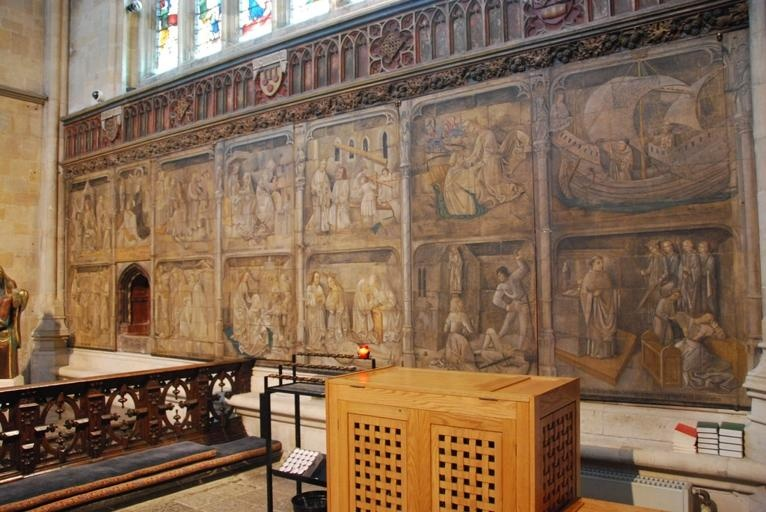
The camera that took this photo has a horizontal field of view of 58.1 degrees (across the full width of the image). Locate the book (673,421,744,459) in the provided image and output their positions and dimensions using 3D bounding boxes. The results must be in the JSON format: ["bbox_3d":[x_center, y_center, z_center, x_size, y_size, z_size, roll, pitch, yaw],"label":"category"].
[{"bbox_3d":[3.596,1.980,7.615,0.494,0.158,0.423,-2,-4,34],"label":"book"}]
